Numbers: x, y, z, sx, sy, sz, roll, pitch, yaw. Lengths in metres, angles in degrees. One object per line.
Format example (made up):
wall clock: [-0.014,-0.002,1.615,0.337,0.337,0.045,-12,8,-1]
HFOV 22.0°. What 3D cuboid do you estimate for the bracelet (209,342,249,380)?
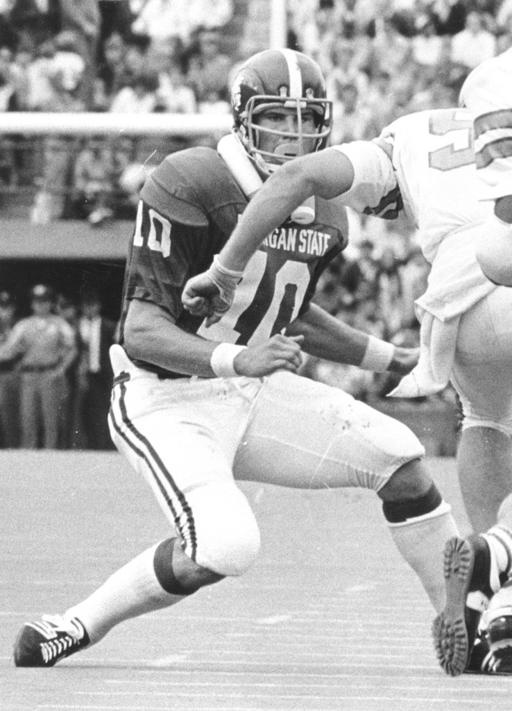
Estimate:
bracelet: [-0.058,0.011,2.471,0.069,0.051,0.055,20,-5,-2]

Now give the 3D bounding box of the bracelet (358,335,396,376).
bracelet: [0.290,-0.006,3.161,0.066,0.072,0.086,26,25,9]

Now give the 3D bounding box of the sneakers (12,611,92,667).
sneakers: [-0.392,0.544,2.514,0.163,0.070,0.070,-16,23,10]

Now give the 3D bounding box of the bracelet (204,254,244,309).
bracelet: [-0.063,-0.145,2.499,0.064,0.090,0.070,-16,41,-2]

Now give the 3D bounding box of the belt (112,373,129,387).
belt: [-0.281,0.050,2.752,0.036,0.012,0.027,-25,-14,40]
